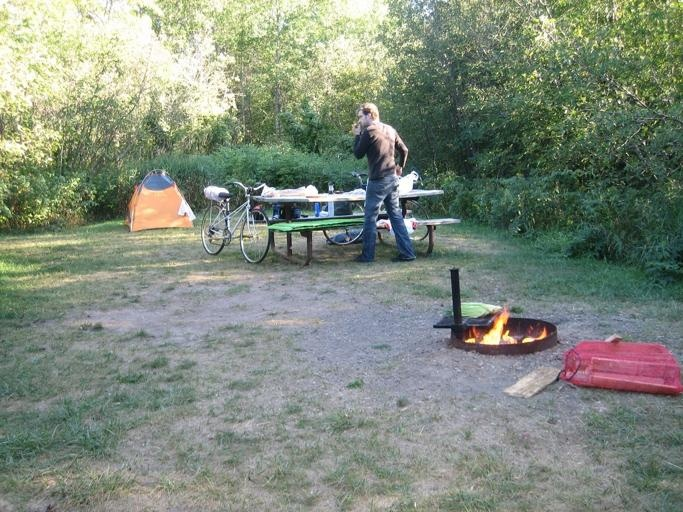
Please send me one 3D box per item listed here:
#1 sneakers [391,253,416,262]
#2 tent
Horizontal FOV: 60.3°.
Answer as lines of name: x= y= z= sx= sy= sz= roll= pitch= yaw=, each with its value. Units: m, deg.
sneakers: x=1.105 y=-0.003 z=10.359 sx=0.389 sy=0.203 sz=0.155 roll=3 pitch=6 yaw=9
tent: x=-5.083 y=-1.688 z=16.189 sx=1.398 sy=1.284 sz=1.735 roll=-4 pitch=16 yaw=-23
